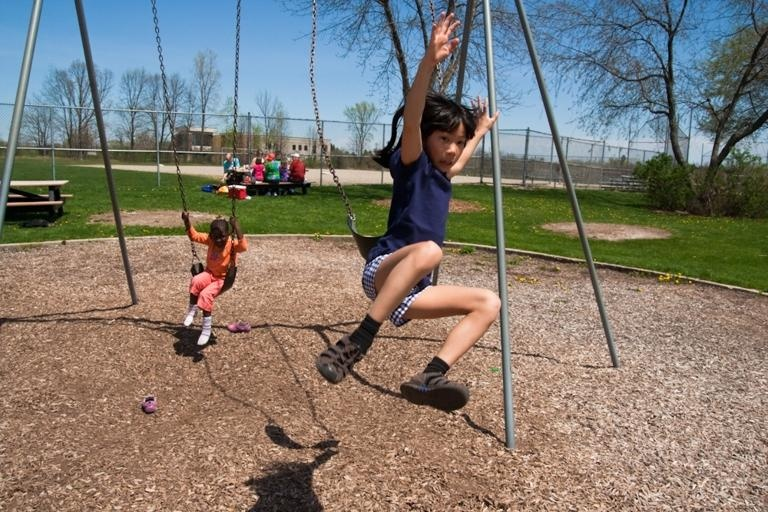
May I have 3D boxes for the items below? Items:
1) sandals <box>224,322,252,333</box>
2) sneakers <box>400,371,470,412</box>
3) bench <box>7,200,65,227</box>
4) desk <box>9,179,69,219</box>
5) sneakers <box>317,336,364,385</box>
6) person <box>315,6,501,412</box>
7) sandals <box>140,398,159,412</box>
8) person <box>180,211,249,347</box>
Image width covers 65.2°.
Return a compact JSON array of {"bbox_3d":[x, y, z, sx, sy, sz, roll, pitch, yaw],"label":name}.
[{"bbox_3d":[-1.494,0.684,5.803,0.180,0.072,0.107,5,29,-20],"label":"sandals"},{"bbox_3d":[0.300,0.862,3.672,0.436,0.205,0.193,10,38,4],"label":"sneakers"},{"bbox_3d":[-6.696,-0.786,10.946,1.083,0.226,0.963,2,9,-1],"label":"bench"},{"bbox_3d":[-6.710,-1.034,11.098,1.180,0.543,0.998,0,6,-12],"label":"desk"},{"bbox_3d":[-0.292,0.621,3.663,0.156,0.165,0.391,42,11,3],"label":"sneakers"},{"bbox_3d":[0.224,-0.255,3.982,1.105,2.717,1.389,3,13,7],"label":"person"},{"bbox_3d":[-1.911,1.153,4.633,0.080,0.041,0.126,2,17,-23],"label":"sandals"},{"bbox_3d":[-1.685,0.183,5.606,0.610,1.194,0.879,-3,14,-16],"label":"person"}]
